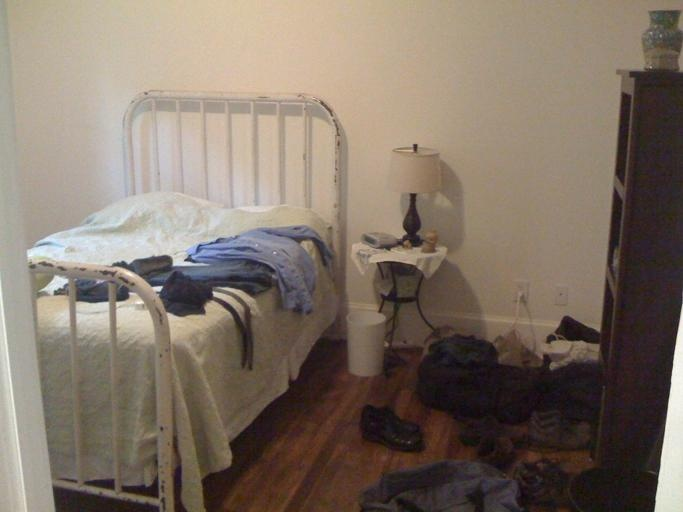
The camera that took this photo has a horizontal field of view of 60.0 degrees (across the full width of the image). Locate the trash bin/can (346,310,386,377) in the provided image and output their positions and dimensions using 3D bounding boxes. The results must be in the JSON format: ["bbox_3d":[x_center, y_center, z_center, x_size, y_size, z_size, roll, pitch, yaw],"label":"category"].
[{"bbox_3d":[0.135,0.474,3.227,0.208,0.329,0.188,-2,11,0],"label":"trash bin/can"}]

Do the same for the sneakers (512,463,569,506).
[{"bbox_3d":[0.776,0.880,2.287,0.160,0.063,0.125,-2,55,0],"label":"sneakers"}]

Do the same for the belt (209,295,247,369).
[{"bbox_3d":[-0.434,0.301,2.315,0.137,0.279,0.052,4,12,27],"label":"belt"}]

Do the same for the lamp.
[{"bbox_3d":[0.416,-0.340,3.296,0.272,0.559,0.340,0,11,9],"label":"lamp"}]

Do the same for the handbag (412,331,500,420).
[{"bbox_3d":[0.642,0.564,3.128,0.469,0.235,0.711,2,16,8],"label":"handbag"}]

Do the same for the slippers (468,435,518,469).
[{"bbox_3d":[0.653,0.826,2.500,0.115,0.043,0.090,-9,25,37],"label":"slippers"}]

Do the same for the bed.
[{"bbox_3d":[-0.825,0.117,3.026,1.471,1.346,1.924,6,27,14],"label":"bed"}]

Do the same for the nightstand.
[{"bbox_3d":[0.304,0.250,3.465,0.600,0.661,0.601,2,7,7],"label":"nightstand"}]

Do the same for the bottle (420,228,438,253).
[{"bbox_3d":[0.481,-0.085,3.252,0.116,0.158,0.118,3,6,0],"label":"bottle"}]
